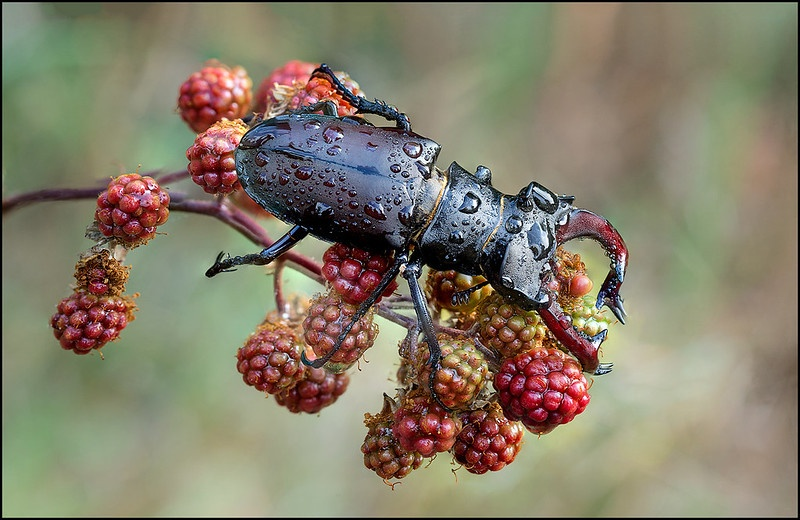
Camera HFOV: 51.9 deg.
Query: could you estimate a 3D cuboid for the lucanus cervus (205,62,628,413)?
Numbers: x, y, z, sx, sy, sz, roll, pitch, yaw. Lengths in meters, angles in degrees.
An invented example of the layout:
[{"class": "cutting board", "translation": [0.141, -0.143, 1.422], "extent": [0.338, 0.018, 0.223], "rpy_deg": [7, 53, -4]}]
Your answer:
[{"class": "lucanus cervus", "translation": [0.048, -0.083, 3.111], "extent": [0.901, 1.375, 1.191], "rpy_deg": [0, -91, -1]}]
